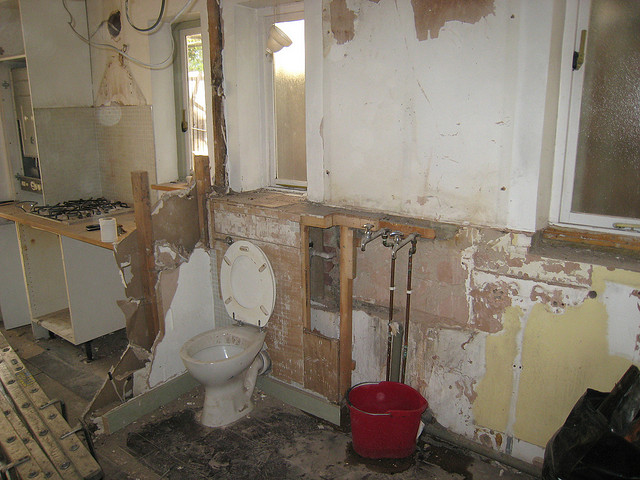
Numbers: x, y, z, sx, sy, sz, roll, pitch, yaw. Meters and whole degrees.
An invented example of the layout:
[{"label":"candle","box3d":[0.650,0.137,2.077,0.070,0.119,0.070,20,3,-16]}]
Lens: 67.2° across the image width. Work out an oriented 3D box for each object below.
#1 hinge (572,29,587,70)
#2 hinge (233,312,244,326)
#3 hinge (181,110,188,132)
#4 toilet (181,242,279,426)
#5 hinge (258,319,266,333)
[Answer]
[{"label":"hinge","box3d":[1.280,-0.931,2.366,0.056,0.183,0.017,3,12,8]},{"label":"hinge","box3d":[-0.539,0.523,3.225,0.056,0.083,0.080,-11,25,-30]},{"label":"hinge","box3d":[-1.072,-0.935,3.801,0.055,0.168,0.021,9,15,33]},{"label":"toilet","box3d":[-0.566,0.574,3.006,0.501,1.067,0.584,6,13,21]},{"label":"hinge","box3d":[-0.383,0.556,3.121,0.061,0.071,0.067,1,15,1]}]
